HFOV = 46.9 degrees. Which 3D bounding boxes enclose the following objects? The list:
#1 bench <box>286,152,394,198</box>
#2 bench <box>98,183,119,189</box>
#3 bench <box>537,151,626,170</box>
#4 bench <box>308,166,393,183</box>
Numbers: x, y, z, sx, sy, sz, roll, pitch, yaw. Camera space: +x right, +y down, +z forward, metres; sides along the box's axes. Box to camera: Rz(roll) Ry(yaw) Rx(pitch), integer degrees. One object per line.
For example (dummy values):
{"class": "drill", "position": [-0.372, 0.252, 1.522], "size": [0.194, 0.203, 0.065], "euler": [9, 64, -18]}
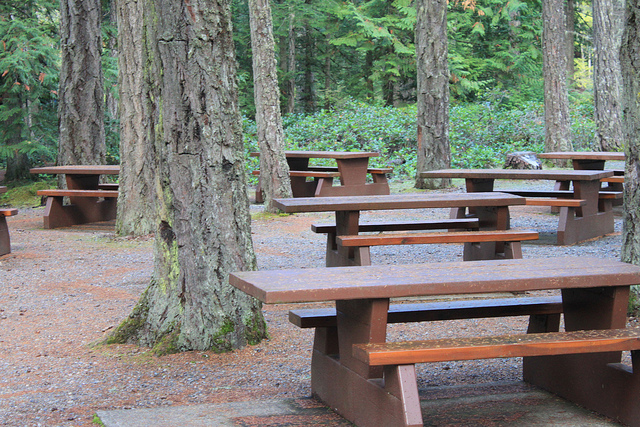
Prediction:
{"class": "bench", "position": [0.647, -0.789, 14.685], "size": [1.459, 0.659, 1.463], "euler": [0, -2, -41]}
{"class": "bench", "position": [-4.048, -0.522, 14.150], "size": [0.746, 0.099, 0.249], "euler": [4, 9, 41]}
{"class": "bench", "position": [4.627, -0.940, 12.979], "size": [1.241, 0.314, 1.642], "euler": [0, 7, 20]}
{"class": "bench", "position": [0.739, -0.865, 15.859], "size": [2.276, 0.283, 1.082], "euler": [4, 9, 44]}
